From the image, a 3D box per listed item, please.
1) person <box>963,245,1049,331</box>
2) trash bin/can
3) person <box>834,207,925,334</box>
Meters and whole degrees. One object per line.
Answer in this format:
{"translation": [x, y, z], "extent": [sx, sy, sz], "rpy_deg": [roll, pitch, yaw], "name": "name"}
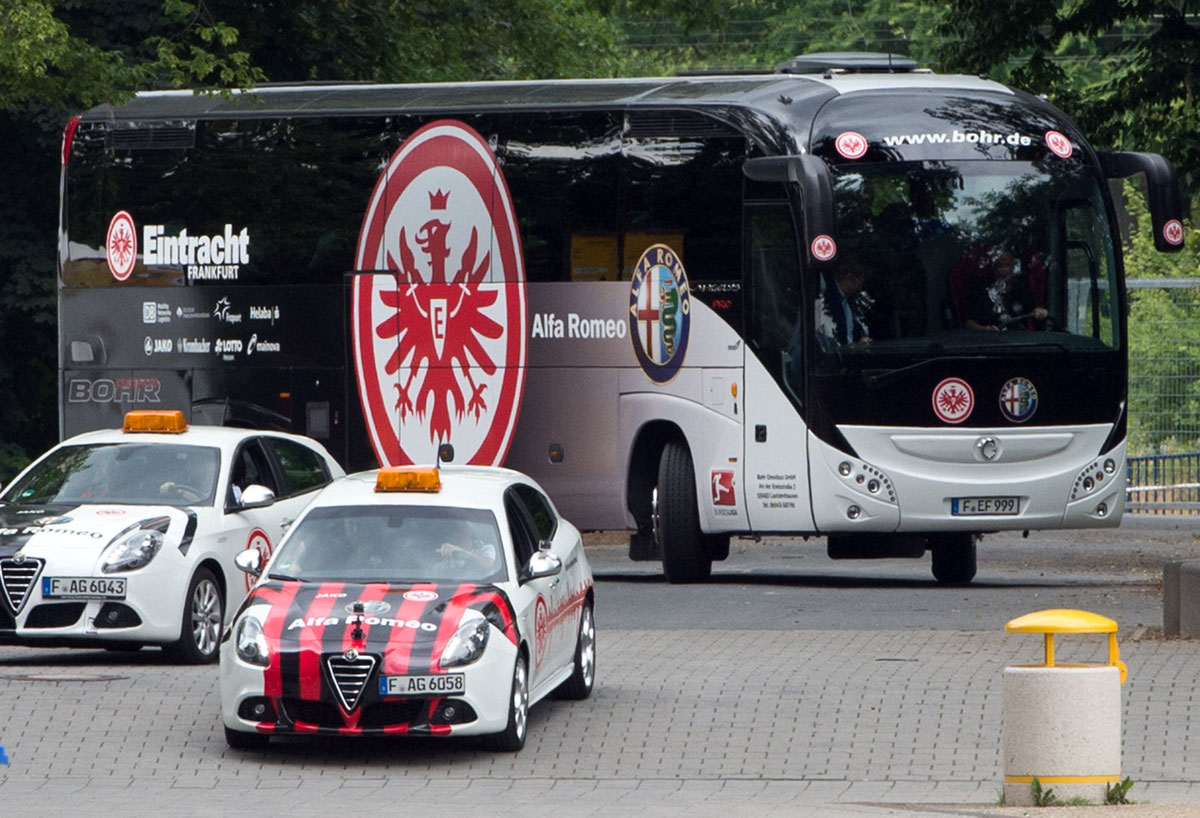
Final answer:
{"translation": [4.404, -1.243, 22.575], "extent": [0.728, 0.991, 0.357], "rpy_deg": [5, 0, -3], "name": "person"}
{"translation": [3.327, 2.081, 14.721], "extent": [0.822, 1.323, 0.833], "rpy_deg": [2, 4, 14], "name": "trash bin/can"}
{"translation": [3.069, -1.463, 22.323], "extent": [0.857, 1.257, 0.377], "rpy_deg": [5, 9, 17], "name": "person"}
